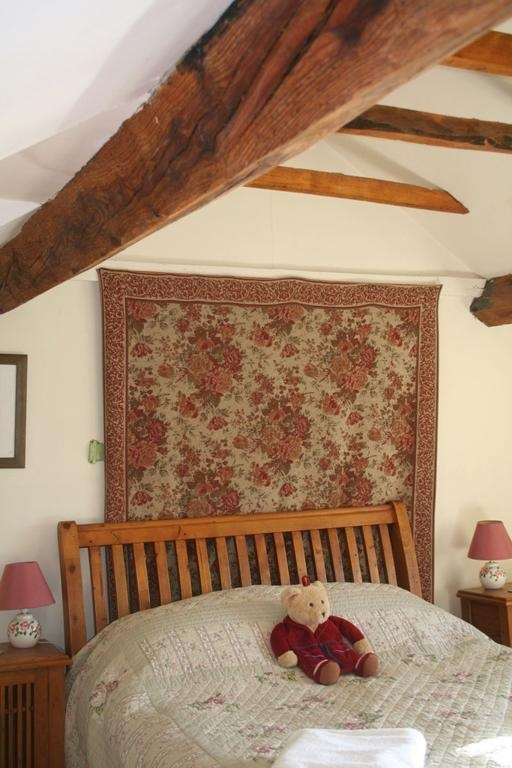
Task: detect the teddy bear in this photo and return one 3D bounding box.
[{"bbox_3d":[0.272,0.999,2.563,0.353,0.337,0.457,3,-6,-27],"label":"teddy bear"}]
